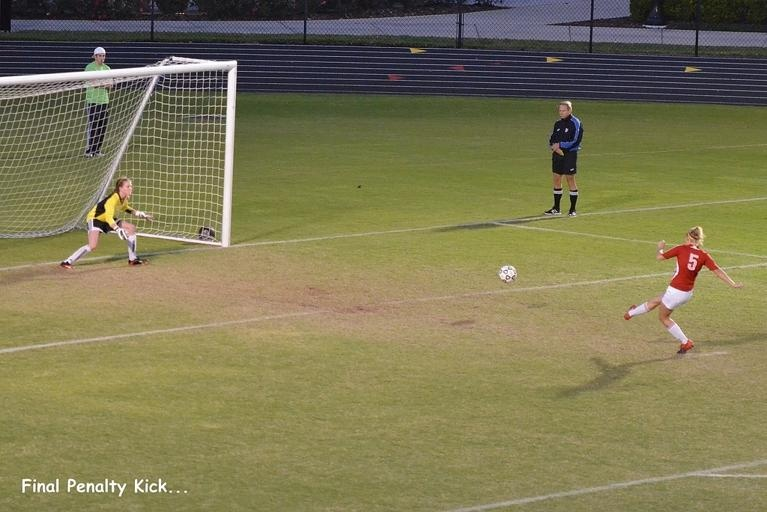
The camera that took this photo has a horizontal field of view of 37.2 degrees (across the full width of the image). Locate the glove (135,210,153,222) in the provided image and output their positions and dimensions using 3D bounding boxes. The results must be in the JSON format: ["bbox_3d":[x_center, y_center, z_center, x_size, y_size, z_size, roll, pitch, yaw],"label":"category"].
[{"bbox_3d":[-4.288,-0.726,20.239,0.199,0.127,0.562,-28,21,-17],"label":"glove"}]

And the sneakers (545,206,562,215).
[{"bbox_3d":[3.302,-0.882,22.255,0.353,0.100,0.130,2,8,9],"label":"sneakers"}]

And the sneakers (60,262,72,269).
[{"bbox_3d":[-5.134,0.136,18.362,0.165,0.135,0.142,-3,13,-12],"label":"sneakers"}]

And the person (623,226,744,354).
[{"bbox_3d":[4.067,0.417,15.795,1.177,1.699,1.069,1,14,2],"label":"person"}]

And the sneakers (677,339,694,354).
[{"bbox_3d":[4.116,1.241,15.523,0.135,0.125,0.249,-46,-4,-24],"label":"sneakers"}]

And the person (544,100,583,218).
[{"bbox_3d":[3.509,-1.934,22.247,0.632,2.235,0.991,2,15,8],"label":"person"}]

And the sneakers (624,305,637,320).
[{"bbox_3d":[3.534,0.810,16.317,0.137,0.090,0.284,-9,23,45],"label":"sneakers"}]

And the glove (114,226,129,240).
[{"bbox_3d":[-4.232,-0.384,18.264,0.178,0.231,0.348,0,12,1],"label":"glove"}]

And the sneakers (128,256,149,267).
[{"bbox_3d":[-4.028,0.095,18.673,0.333,0.094,0.145,-2,12,0],"label":"sneakers"}]

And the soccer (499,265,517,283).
[{"bbox_3d":[1.987,0.280,18.060,0.353,0.238,0.297,10,-20,-22],"label":"soccer"}]
